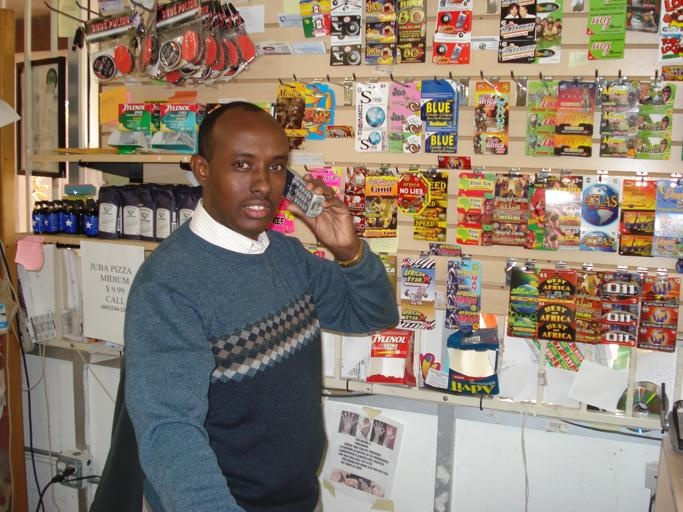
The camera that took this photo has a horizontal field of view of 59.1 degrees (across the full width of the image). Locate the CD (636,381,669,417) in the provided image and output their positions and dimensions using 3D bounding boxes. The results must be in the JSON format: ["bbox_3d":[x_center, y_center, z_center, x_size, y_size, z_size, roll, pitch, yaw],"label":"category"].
[{"bbox_3d":[1.397,0.642,2.713,0.149,0.146,0.033,2,3,15],"label":"CD"}]

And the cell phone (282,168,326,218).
[{"bbox_3d":[-0.131,-0.228,2.227,0.111,0.166,0.164,11,6,26],"label":"cell phone"}]

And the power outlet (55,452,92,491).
[{"bbox_3d":[-1.588,1.255,3.506,0.251,0.234,0.116,2,4,22],"label":"power outlet"}]

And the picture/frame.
[{"bbox_3d":[-1.851,-0.869,3.719,0.354,0.871,0.093,12,17,21],"label":"picture/frame"}]
